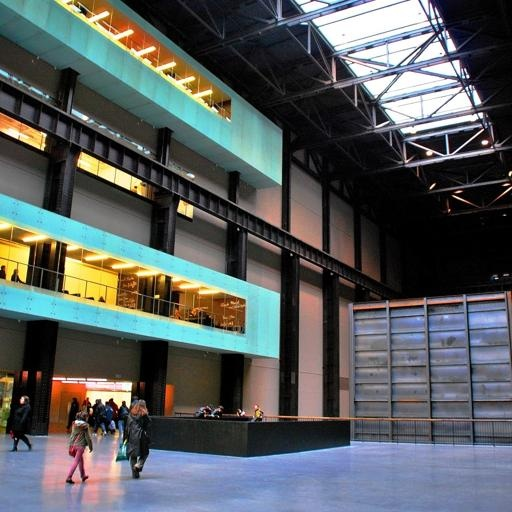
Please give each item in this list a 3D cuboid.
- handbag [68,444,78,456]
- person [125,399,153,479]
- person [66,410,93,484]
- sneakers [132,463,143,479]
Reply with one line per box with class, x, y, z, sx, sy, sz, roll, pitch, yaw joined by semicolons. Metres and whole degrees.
handbag;-3.756;3.979;9.841;0.159;0.217;0.086;3;-5;-23
person;-2.802;4.270;11.320;0.563;1.692;0.657;4;-17;-12
person;-3.741;4.021;10.211;0.448;1.402;1.636;6;-18;-18
sneakers;-2.697;4.880;10.910;0.127;0.377;0.208;5;-7;-16
